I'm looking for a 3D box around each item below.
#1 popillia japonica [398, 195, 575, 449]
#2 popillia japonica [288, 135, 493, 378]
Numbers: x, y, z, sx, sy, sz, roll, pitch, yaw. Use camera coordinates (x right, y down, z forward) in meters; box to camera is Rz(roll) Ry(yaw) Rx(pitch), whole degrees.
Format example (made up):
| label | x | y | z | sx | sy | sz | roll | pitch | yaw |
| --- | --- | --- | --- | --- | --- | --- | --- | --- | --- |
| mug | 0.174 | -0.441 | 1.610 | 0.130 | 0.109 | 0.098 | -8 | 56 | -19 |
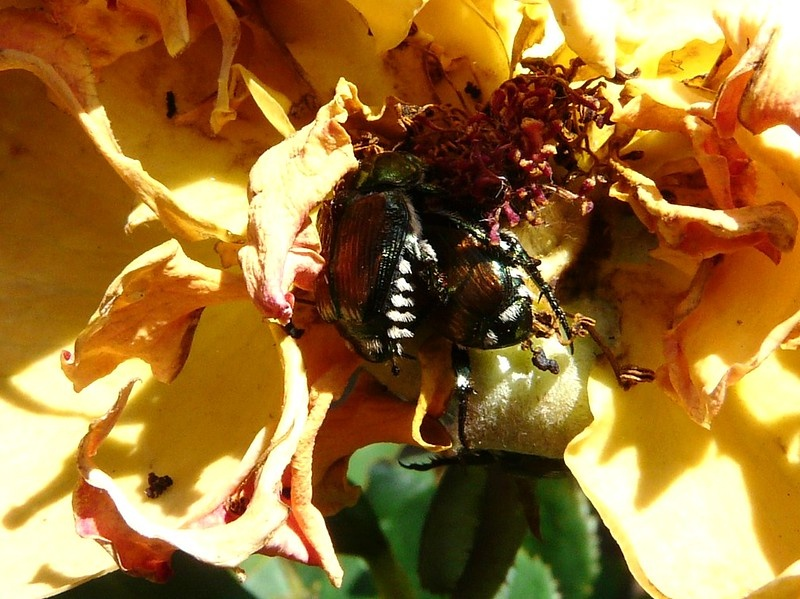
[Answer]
| label | x | y | z | sx | sy | sz | roll | pitch | yaw |
| --- | --- | --- | --- | --- | --- | --- | --- | --- | --- |
| popillia japonica | 0.060 | -0.002 | 1.212 | 0.213 | 0.105 | 0.342 | -48 | 30 | 13 |
| popillia japonica | -0.030 | -0.033 | 1.120 | 0.175 | 0.084 | 0.273 | 7 | 86 | 15 |
